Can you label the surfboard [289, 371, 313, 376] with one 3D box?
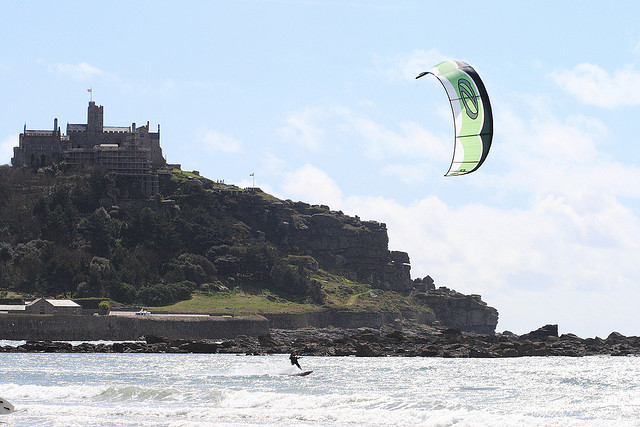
[{"bbox_3d":[-2.539,20.804,177.582,2.994,0.917,0.942,4,4,27],"label":"surfboard"}]
